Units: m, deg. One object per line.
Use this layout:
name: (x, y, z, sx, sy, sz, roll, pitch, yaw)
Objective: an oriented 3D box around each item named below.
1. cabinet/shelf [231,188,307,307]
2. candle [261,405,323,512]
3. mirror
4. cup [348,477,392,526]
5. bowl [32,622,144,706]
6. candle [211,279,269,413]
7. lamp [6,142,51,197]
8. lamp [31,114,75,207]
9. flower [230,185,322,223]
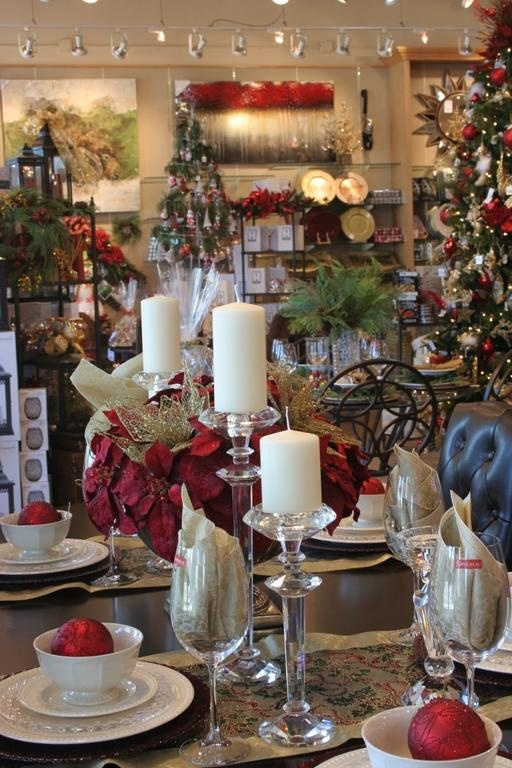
cabinet/shelf: (0.107, -1.166, 5.642, 0.490, 0.892, 0.507, -2, 2, -5)
candle: (0.026, 0.065, 0.485, 0.050, 0.056, 0.050, -2, 1, 27)
mirror: (1.919, -2.808, 6.586, 0.597, 1.238, 0.725, -3, -6, 17)
cup: (0.181, 0.190, 1.062, 0.094, 0.074, 0.106, 1, -2, 2)
bowl: (-0.139, 0.246, 0.543, 0.072, 0.041, 0.071, 0, -10, 0)
candle: (-0.015, -0.021, 0.570, 0.045, 0.092, 0.031, -1, -5, -4)
lamp: (-1.429, -1.364, 3.988, 0.247, 0.338, 0.154, 1, -6, -21)
lamp: (-1.316, -1.423, 4.138, 0.154, 0.395, 0.161, 4, 36, 39)
flower: (0.155, -1.563, 5.535, 0.504, 0.181, 0.509, 2, 8, 38)
